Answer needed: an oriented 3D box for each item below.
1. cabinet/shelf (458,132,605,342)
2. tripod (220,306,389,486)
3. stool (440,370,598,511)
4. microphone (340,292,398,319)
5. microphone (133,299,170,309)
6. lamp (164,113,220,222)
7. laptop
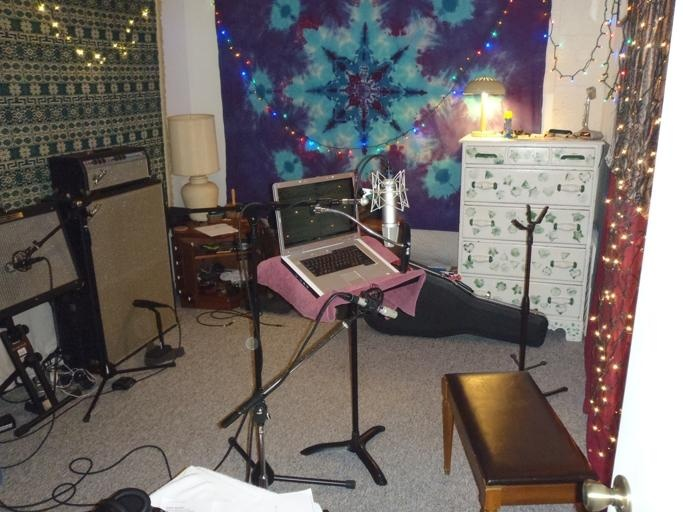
[{"bbox_3d":[1.469,-0.189,4.724,1.037,1.596,0.589,4,22,18],"label":"cabinet/shelf"},{"bbox_3d":[-0.209,0.889,3.577,0.717,0.828,0.456,-16,44,-22],"label":"tripod"},{"bbox_3d":[0.792,0.647,2.769,0.562,0.730,0.816,-1,20,-2],"label":"stool"},{"bbox_3d":[0.129,0.230,2.771,0.263,0.108,0.073,23,43,-21],"label":"microphone"},{"bbox_3d":[-1.386,0.338,4.138,0.303,0.091,0.095,-2,5,16],"label":"microphone"},{"bbox_3d":[-1.274,-0.745,5.026,0.391,0.897,0.386,-7,19,-16],"label":"lamp"},{"bbox_3d":[-0.026,-0.131,3.114,0.570,0.439,0.625,-9,32,-21],"label":"laptop"}]
